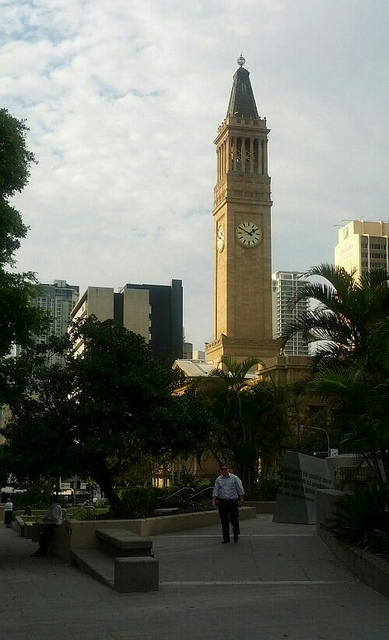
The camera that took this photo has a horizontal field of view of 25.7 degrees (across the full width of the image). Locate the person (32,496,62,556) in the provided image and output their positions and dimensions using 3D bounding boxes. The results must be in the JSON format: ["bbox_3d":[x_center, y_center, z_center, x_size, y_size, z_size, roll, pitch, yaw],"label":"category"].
[{"bbox_3d":[-2.847,4.015,16.487,0.501,1.122,1.131,0,-7,-11],"label":"person"}]

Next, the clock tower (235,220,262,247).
[{"bbox_3d":[5.022,-8.141,81.424,2.520,2.603,0.334,5,-24,-30],"label":"clock tower"}]
